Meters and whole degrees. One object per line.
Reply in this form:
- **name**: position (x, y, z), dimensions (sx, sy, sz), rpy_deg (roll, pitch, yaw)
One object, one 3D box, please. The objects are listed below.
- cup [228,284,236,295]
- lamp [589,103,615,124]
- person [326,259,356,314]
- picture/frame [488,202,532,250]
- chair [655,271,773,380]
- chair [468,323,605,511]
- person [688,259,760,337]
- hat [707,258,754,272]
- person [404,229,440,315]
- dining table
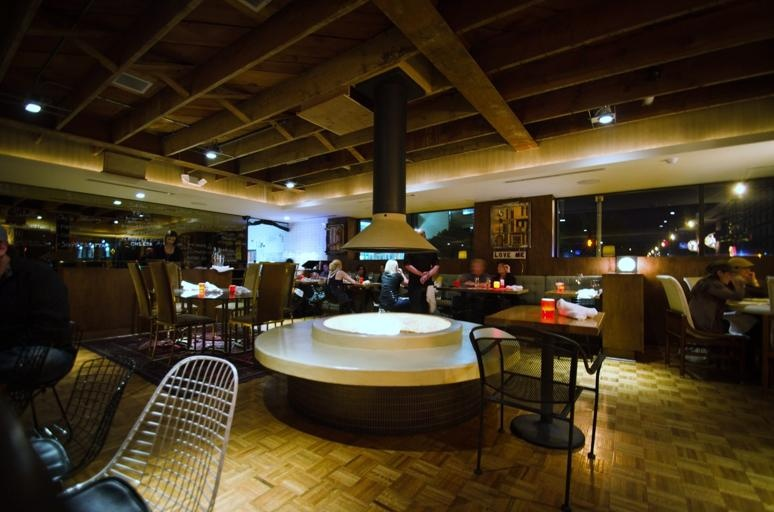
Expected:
- **cup**: position (-2.205, 0.487, 7.389), dimensions (0.124, 0.194, 0.119), rpy_deg (0, -4, 0)
- **lamp**: position (2.774, -1.799, 6.629), dimensions (0.236, 0.083, 0.239), rpy_deg (7, -17, 26)
- **person**: position (-0.877, 0.629, 10.157), dimensions (0.684, 1.144, 0.470), rpy_deg (-10, 19, -37)
- **picture/frame**: position (2.374, -0.585, 9.801), dimensions (0.973, 1.036, 0.102), rpy_deg (0, -3, 44)
- **chair**: position (4.568, 0.885, 6.900), dimensions (1.504, 1.667, 1.226), rpy_deg (-1, -4, 12)
- **chair**: position (1.599, 1.503, 5.607), dimensions (1.253, 1.614, 1.826), rpy_deg (0, 1, 13)
- **person**: position (4.609, 0.558, 7.005), dimensions (0.825, 1.084, 0.881), rpy_deg (-1, -3, -43)
- **hat**: position (4.799, 0.126, 7.197), dimensions (0.365, 0.146, 0.462), rpy_deg (3, -6, -44)
- **person**: position (0.565, 0.273, 8.538), dimensions (0.528, 1.327, 0.499), rpy_deg (-1, 1, 1)
- **dining table**: position (1.746, 1.325, 5.589), dimensions (1.395, 1.153, 1.364), rpy_deg (1, 1, 20)
